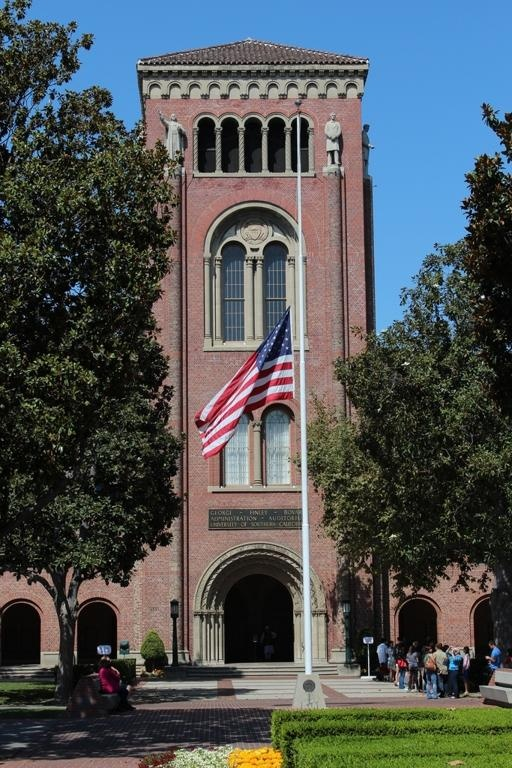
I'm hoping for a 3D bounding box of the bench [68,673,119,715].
[{"bbox_3d":[-3.371,6.543,27.500,0.997,0.829,0.561,1,-13,-6],"label":"bench"}]

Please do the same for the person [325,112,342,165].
[{"bbox_3d":[2.699,-8.277,44.981,0.607,1.863,0.534,0,-12,0],"label":"person"}]

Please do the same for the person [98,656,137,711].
[{"bbox_3d":[-2.937,6.419,28.034,0.689,1.205,0.482,-5,-10,-26],"label":"person"}]

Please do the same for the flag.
[{"bbox_3d":[-0.140,-0.130,25.621,1.736,3.888,0.458,-6,-52,12],"label":"flag"}]
